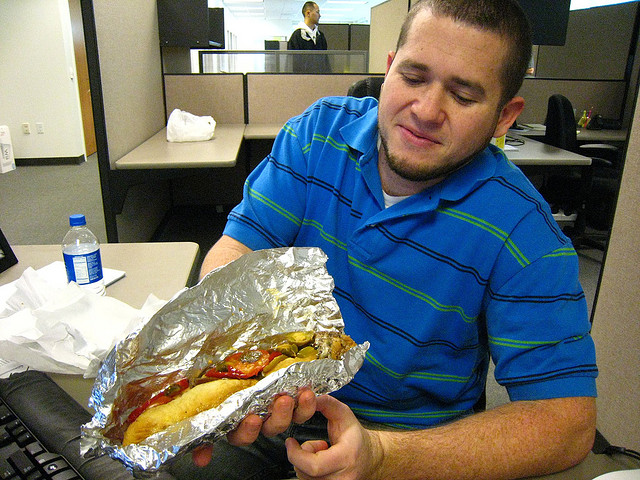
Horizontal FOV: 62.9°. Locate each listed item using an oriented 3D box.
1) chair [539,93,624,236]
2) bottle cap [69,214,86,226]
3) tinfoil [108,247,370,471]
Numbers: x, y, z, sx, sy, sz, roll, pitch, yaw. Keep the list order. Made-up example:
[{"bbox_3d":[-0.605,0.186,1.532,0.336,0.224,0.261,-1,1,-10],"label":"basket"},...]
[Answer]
[{"bbox_3d":[1.471,-0.511,2.944,0.369,0.609,0.397,-1,18,-22],"label":"chair"},{"bbox_3d":[-0.548,-0.049,1.174,0.033,0.019,0.034,0,9,-5],"label":"bottle cap"},{"bbox_3d":[-0.131,0.174,0.829,0.409,0.250,0.209,-8,23,-26],"label":"tinfoil"}]
